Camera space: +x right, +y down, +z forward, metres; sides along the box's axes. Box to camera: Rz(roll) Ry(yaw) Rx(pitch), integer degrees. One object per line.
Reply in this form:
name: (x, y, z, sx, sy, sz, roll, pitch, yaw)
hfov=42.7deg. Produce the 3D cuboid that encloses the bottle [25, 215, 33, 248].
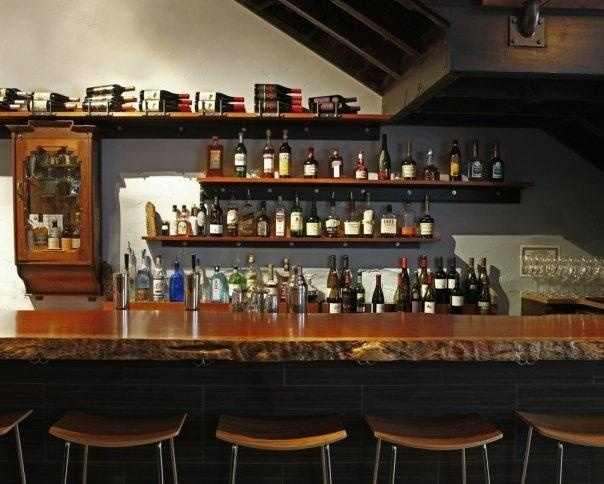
bottle: (-1.814, -0.067, 5.168, 0.045, 0.224, 0.014, 0, -3, -22)

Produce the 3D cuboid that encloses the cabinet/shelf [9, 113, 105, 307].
cabinet/shelf: (-1.663, -0.220, 5.208, 0.501, 1.143, 0.284, -1, 3, -17)
